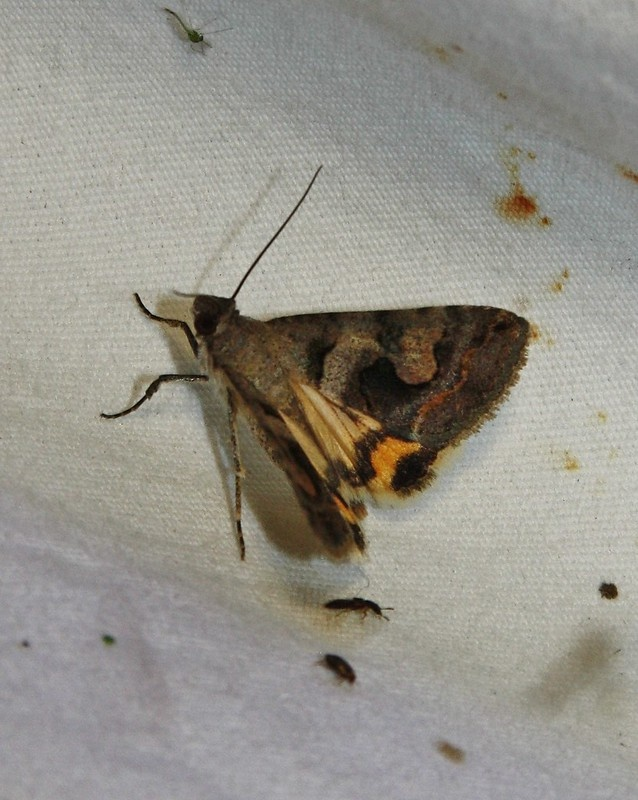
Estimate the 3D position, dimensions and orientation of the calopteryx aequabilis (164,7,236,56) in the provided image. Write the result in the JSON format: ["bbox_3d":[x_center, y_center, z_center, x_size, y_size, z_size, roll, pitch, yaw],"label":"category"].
[{"bbox_3d":[-0.289,-0.839,2.311,0.153,0.014,0.086,28,76,-2],"label":"calopteryx aequabilis"}]

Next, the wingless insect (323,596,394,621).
[{"bbox_3d":[0.088,0.478,2.376,0.104,0.072,0.027,7,73,6],"label":"wingless insect"}]
